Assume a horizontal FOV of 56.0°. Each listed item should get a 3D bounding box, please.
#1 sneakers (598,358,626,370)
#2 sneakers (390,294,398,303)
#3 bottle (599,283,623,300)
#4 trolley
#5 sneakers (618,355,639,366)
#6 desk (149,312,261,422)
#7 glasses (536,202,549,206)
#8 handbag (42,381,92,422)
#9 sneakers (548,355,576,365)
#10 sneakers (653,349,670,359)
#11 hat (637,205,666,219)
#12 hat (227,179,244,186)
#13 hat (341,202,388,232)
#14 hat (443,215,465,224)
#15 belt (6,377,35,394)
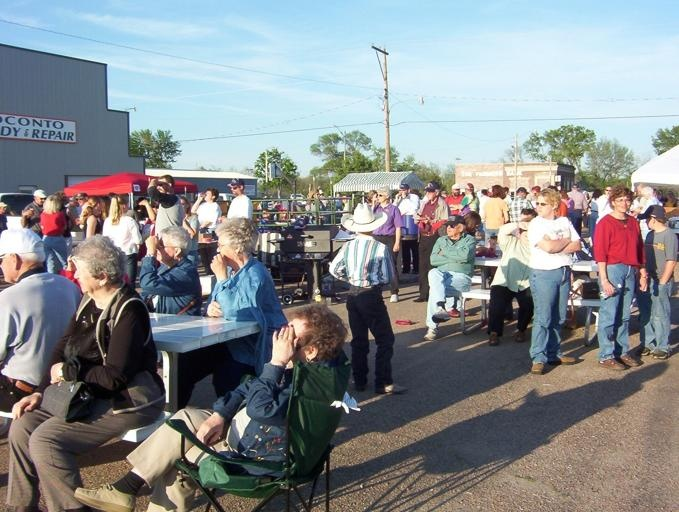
[{"bbox_3d":[3.020,1.173,7.055,0.214,0.093,0.124,1,5,16],"label":"sneakers"},{"bbox_3d":[0.916,0.713,10.694,0.112,0.123,0.276,-2,-4,7],"label":"sneakers"},{"bbox_3d":[2.950,0.381,6.933,0.209,0.079,0.160,-25,-10,20],"label":"bottle"},{"bbox_3d":[-0.420,0.087,10.807,1.347,1.358,1.360,-2,9,10],"label":"trolley"},{"bbox_3d":[3.249,1.180,7.154,0.116,0.099,0.229,-3,0,-32],"label":"sneakers"},{"bbox_3d":[-1.183,0.807,5.086,0.742,0.765,0.785,1,4,8],"label":"desk"},{"bbox_3d":[2.251,-0.571,7.057,0.072,0.023,0.069,7,1,-22],"label":"glasses"},{"bbox_3d":[-1.838,0.963,4.287,0.322,0.255,0.179,3,10,20],"label":"handbag"},{"bbox_3d":[2.546,1.188,7.268,0.234,0.102,0.137,-4,0,0],"label":"sneakers"},{"bbox_3d":[3.737,1.138,7.422,0.186,0.091,0.083,2,4,-4],"label":"sneakers"},{"bbox_3d":[3.739,-0.513,7.635,0.250,0.150,0.186,10,9,40],"label":"hat"},{"bbox_3d":[-1.844,-1.345,11.654,0.185,0.120,0.269,0,-1,44],"label":"hat"},{"bbox_3d":[0.276,-0.409,6.641,0.297,0.156,0.371,-4,29,14],"label":"hat"},{"bbox_3d":[1.667,-0.514,8.947,0.241,0.126,0.168,2,-3,-28],"label":"hat"},{"bbox_3d":[-2.387,0.971,4.789,0.140,0.054,0.108,25,-2,13],"label":"belt"}]
